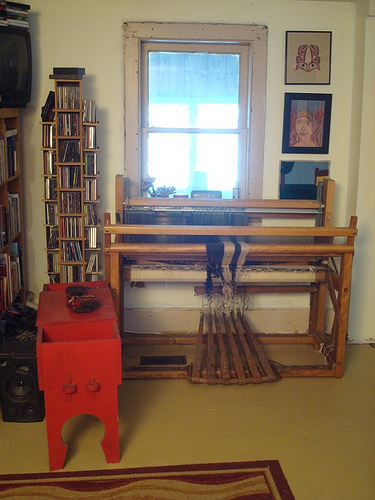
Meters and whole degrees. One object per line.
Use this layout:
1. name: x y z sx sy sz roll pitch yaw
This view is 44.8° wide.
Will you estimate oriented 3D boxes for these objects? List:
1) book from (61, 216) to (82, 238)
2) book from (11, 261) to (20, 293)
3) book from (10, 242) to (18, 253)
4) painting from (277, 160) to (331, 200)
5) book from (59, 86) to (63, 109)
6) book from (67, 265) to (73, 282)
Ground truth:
1. book: -0.914 -0.183 3.583 0.158 0.162 0.031 -1 12 -12
2. book: -1.365 0.202 3.630 0.048 0.178 0.189 0 3 -10
3. book: -1.416 -0.019 3.713 0.094 0.083 0.064 1 12 -2
4. painting: 0.961 -0.598 3.766 0.426 0.300 0.017 0 5 -3
5. book: -0.946 -1.139 3.401 0.033 0.150 0.008 3 12 7
6. book: -0.941 0.190 3.652 0.042 0.129 0.009 0 12 -8
